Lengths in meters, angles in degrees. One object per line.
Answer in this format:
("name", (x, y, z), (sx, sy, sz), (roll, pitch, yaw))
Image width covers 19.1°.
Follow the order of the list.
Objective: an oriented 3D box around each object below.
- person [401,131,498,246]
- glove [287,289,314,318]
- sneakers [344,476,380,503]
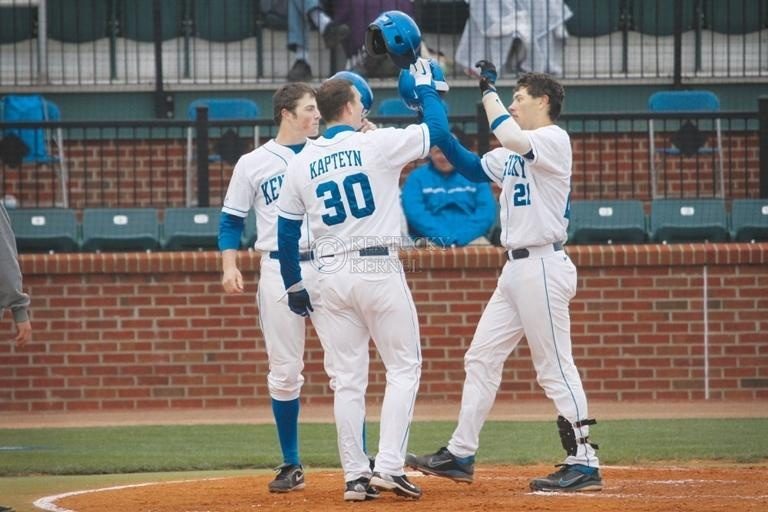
("person", (0.910, -0.975, 33.029), (1.107, 1.543, 0.430), (0, -7, -11))
("glove", (-1.085, 0.580, 29.704), (0.276, 0.329, 0.344), (-11, -3, 2))
("sneakers", (-0.292, 3.005, 29.468), (0.222, 0.251, 0.532), (0, -2, 36))
